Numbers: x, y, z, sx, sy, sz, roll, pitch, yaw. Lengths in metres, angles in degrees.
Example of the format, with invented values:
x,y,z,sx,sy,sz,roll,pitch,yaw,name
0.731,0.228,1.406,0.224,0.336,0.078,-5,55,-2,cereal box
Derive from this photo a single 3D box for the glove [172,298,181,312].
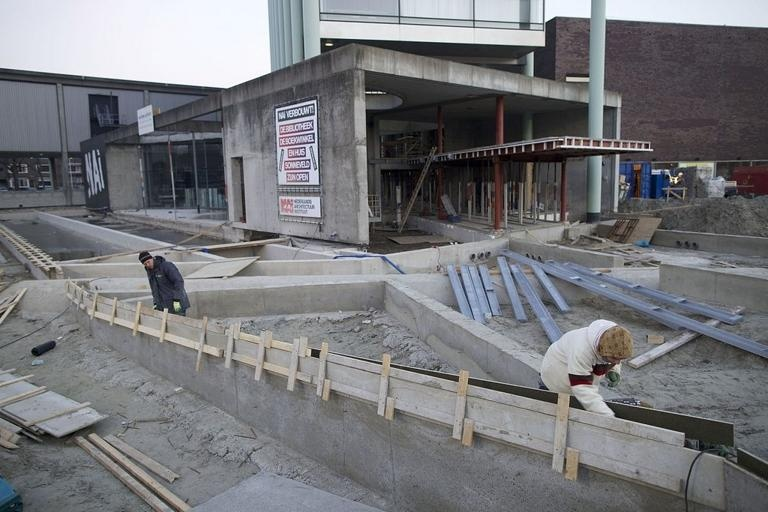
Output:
x,y,z,sx,sy,sz,roll,pitch,yaw,name
-4.044,0.990,9.643,0.152,0.264,0.146,-9,13,-24,glove

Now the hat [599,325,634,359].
x,y,z,sx,sy,sz,roll,pitch,yaw,name
2.589,0.977,5.472,0.304,0.328,0.389,9,16,3,hat

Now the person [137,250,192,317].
x,y,z,sx,sy,sz,roll,pitch,yaw,name
-4.362,0.566,9.759,0.817,1.299,0.459,1,13,23,person

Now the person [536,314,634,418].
x,y,z,sx,sy,sz,roll,pitch,yaw,name
2.328,1.260,5.803,0.475,1.012,0.955,-10,13,-29,person

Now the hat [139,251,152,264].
x,y,z,sx,sy,sz,roll,pitch,yaw,name
-4.695,0.046,9.720,0.226,0.245,0.360,-9,12,-25,hat
